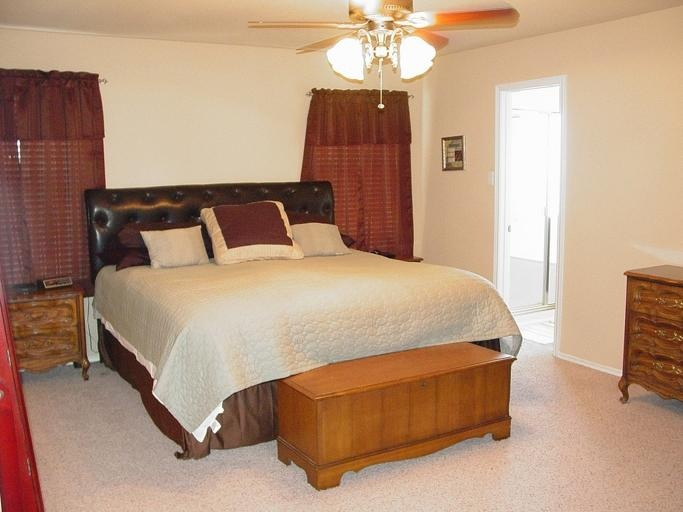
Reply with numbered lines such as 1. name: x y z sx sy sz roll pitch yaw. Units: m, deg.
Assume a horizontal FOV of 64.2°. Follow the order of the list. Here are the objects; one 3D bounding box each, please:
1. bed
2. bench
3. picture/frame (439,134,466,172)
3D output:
1. bed: -0.879 0.109 4.206 2.533 1.358 2.386 -5 8 -32
2. bench: 0.364 0.940 3.390 1.458 0.531 0.534 -3 6 -30
3. picture/frame: 1.180 -1.083 5.715 0.039 0.441 0.444 -2 5 -40
